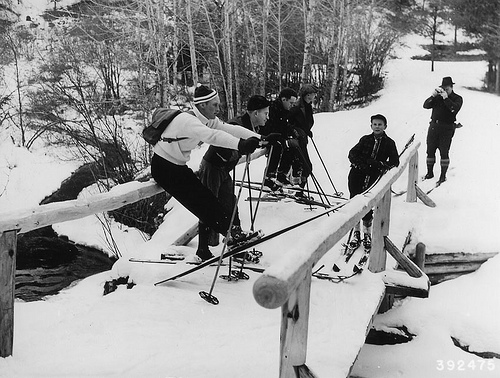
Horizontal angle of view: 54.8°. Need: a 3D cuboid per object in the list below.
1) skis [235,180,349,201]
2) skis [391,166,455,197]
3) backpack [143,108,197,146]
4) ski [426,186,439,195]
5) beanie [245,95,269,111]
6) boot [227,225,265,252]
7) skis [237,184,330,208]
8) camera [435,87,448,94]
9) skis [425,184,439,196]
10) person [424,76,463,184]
[{"bbox_3d":[0.761,0.031,9.299,1.311,0.117,0.146,13,-10,21],"label":"skis"},{"bbox_3d":[3.535,-0.144,9.697,0.980,0.119,0.099,-36,57,-4],"label":"skis"},{"bbox_3d":[-0.992,-0.794,5.944,0.559,0.527,0.381,21,17,-26],"label":"backpack"},{"bbox_3d":[3.678,0.022,9.726,0.117,0.087,0.496,10,18,35],"label":"ski"},{"bbox_3d":[0.106,-1.248,6.875,0.271,0.158,0.186,-18,19,-22],"label":"beanie"},{"bbox_3d":[-0.049,0.569,6.053,0.453,0.303,0.555,0,12,8],"label":"boot"},{"bbox_3d":[0.573,0.134,8.944,1.353,0.116,0.096,17,65,36],"label":"skis"},{"bbox_3d":[3.870,-1.966,9.724,0.160,0.104,0.334,12,19,39],"label":"camera"},{"bbox_3d":[3.700,0.002,9.751,0.143,0.112,0.565,9,18,33],"label":"skis"},{"bbox_3d":[3.964,-1.207,9.984,0.685,2.155,0.626,5,15,21],"label":"person"}]
